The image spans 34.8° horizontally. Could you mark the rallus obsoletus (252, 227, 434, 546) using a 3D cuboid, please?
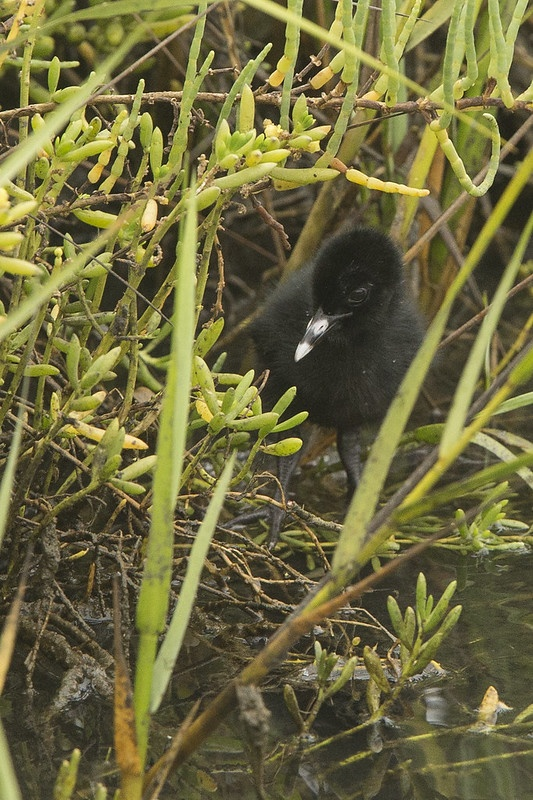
[{"bbox_3d":[0.269,-0.219,2.823,0.566,0.813,1.012,6,26,2],"label":"rallus obsoletus"}]
